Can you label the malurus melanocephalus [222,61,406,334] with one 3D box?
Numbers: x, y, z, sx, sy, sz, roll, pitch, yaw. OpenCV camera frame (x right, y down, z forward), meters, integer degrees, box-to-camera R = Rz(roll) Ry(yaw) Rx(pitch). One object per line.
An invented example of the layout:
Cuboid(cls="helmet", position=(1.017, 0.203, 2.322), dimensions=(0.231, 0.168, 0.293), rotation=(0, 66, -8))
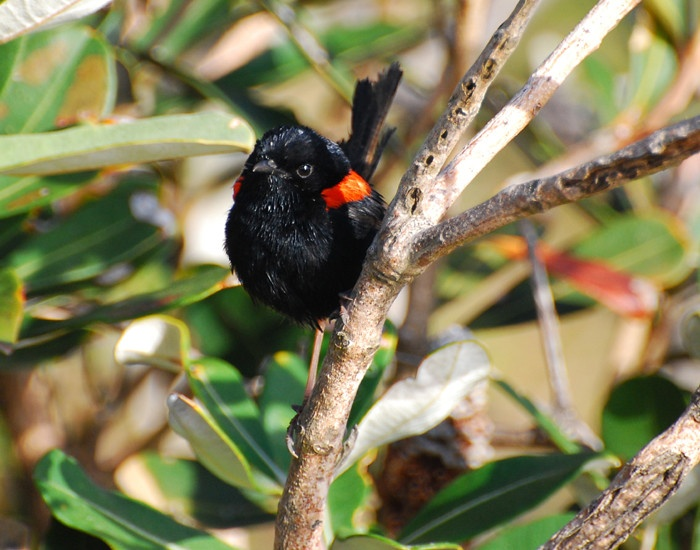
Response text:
Cuboid(cls="malurus melanocephalus", position=(-0.227, -0.236, 4.536), dimensions=(0.782, 1.154, 0.376), rotation=(-10, 2, -2))
